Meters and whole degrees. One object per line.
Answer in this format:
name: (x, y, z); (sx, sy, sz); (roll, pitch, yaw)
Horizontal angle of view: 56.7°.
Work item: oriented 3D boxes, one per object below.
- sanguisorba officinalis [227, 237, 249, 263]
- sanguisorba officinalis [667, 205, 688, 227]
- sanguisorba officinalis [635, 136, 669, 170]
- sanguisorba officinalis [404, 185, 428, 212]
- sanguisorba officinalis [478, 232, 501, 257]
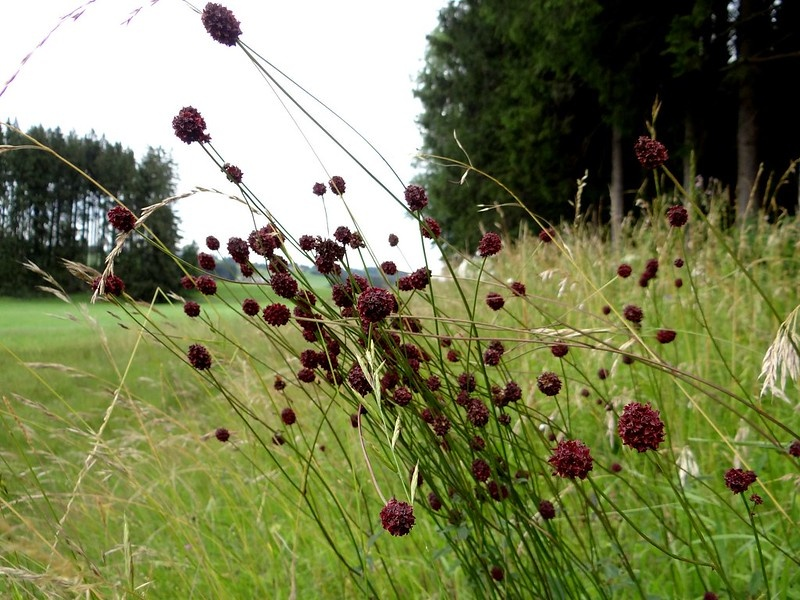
sanguisorba officinalis: (-0.959, -0.287, 4.420); (0.107, 0.112, 0.174); (-5, -2, -12)
sanguisorba officinalis: (1.785, -0.535, 4.780); (0.131, 0.146, 0.228); (-6, -2, 22)
sanguisorba officinalis: (1.470, -0.861, 4.354); (0.175, 0.198, 0.196); (-6, -2, 19)
sanguisorba officinalis: (0.098, -0.624, 4.529); (0.116, 0.151, 0.304); (-5, -2, 21)
sanguisorba officinalis: (0.559, -0.339, 4.653); (0.136, 0.146, 0.229); (-5, -2, 6)
